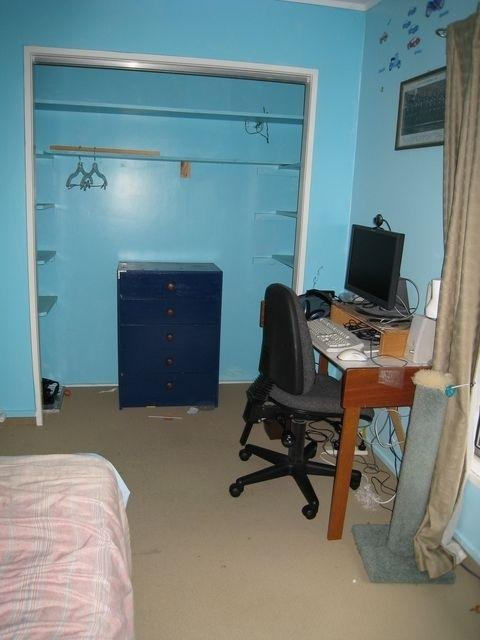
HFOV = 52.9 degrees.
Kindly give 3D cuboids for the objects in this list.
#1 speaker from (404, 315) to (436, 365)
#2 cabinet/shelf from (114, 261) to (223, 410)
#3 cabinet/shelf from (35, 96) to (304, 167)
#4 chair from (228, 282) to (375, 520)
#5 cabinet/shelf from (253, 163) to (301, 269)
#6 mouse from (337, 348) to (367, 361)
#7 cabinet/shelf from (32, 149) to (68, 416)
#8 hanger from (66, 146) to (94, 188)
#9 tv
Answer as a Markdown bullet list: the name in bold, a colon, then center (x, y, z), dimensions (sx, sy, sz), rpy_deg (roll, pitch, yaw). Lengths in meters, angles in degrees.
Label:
- **speaker**: center (0.796, 0.079, 2.089), dimensions (0.130, 0.207, 0.132), rpy_deg (13, 6, 36)
- **cabinet/shelf**: center (-0.502, 0.054, 3.539), dimensions (0.745, 1.071, 0.607), rpy_deg (2, 15, -3)
- **cabinet/shelf**: center (-0.489, -1.325, 3.307), dimensions (1.771, 0.432, 0.431), rpy_deg (0, 11, -11)
- **chair**: center (0.296, 0.344, 2.347), dimensions (0.572, 1.010, 0.630), rpy_deg (2, 9, -7)
- **cabinet/shelf**: center (0.277, -0.828, 3.672), dimensions (0.210, 0.657, 0.638), rpy_deg (-3, 20, -11)
- **mouse**: center (0.489, 0.152, 2.081), dimensions (0.080, 0.029, 0.060), rpy_deg (-3, 12, -8)
- **cabinet/shelf**: center (-1.280, -0.265, 3.242), dimensions (0.229, 1.770, 0.789), rpy_deg (-3, 11, -20)
- **hanger**: center (-1.083, -1.063, 3.425), dimensions (0.284, 0.355, 0.041), rpy_deg (-3, -20, -15)
- **tv**: center (0.686, -0.243, 2.418), dimensions (0.102, 0.299, 0.406), rpy_deg (-8, 23, -7)
